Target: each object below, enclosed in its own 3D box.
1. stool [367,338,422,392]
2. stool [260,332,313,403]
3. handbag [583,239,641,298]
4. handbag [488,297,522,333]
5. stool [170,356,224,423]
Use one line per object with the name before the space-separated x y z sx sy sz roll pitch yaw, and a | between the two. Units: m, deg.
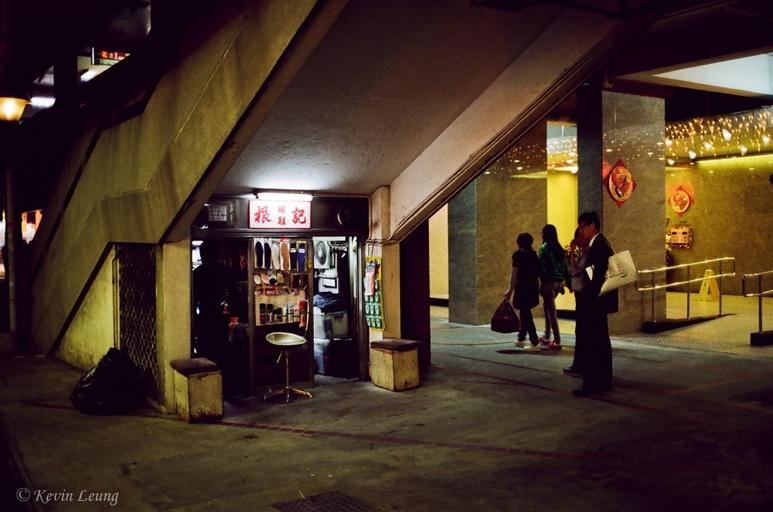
stool | 0.135 1.866 11.066 0.593 0.751 0.764 -5 3 -37
stool | -1.678 1.876 10.639 0.745 0.996 0.842 3 -7 -33
handbag | 3.726 0.188 10.563 0.976 0.878 0.387 -28 -1 7
handbag | 2.309 1.160 12.225 0.505 0.722 0.360 1 11 15
stool | -3.098 1.974 9.878 1.029 0.862 0.566 17 24 38
